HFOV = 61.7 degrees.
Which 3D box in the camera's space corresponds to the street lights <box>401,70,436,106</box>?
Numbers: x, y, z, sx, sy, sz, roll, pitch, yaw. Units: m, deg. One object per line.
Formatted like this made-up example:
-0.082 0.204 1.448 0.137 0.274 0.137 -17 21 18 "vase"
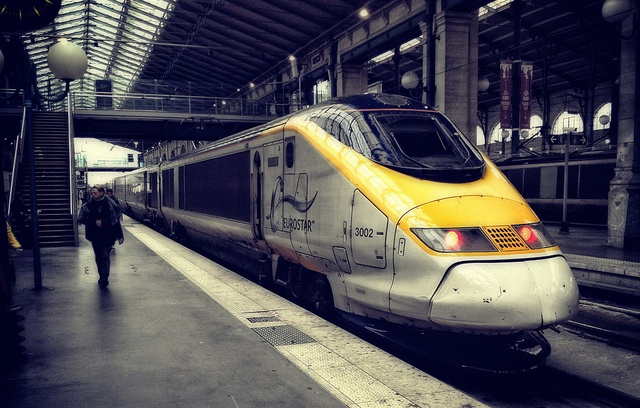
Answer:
3.706 -4.317 19.905 0.760 0.941 2.385 -3 17 -9 "street lights"
